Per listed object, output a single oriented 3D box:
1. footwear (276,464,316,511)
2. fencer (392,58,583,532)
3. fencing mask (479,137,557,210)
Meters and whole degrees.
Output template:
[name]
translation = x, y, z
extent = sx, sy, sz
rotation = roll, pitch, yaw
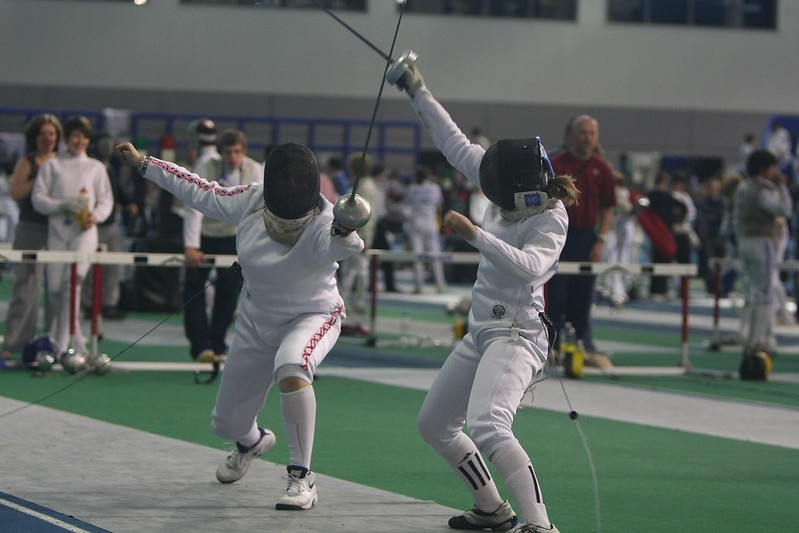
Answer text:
[footwear]
translation = -0.890, 1.897, 12.946
extent = 0.378, 0.372, 0.201
rotation = 2, 3, -12
[fencer]
translation = 0.760, 0.416, 12.730
extent = 1.468, 3.639, 0.947
rotation = 3, 3, 20
[fencing mask]
translation = 0.966, -0.793, 12.613
extent = 0.527, 0.650, 0.470
rotation = 5, 4, -3
